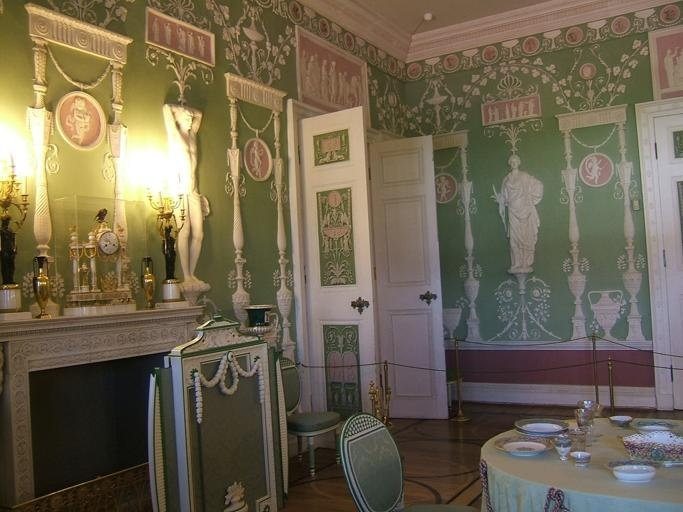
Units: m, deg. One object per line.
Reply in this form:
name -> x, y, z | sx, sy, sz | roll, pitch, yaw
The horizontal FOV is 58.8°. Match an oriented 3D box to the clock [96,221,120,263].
clock -> -1.716, -0.080, 4.448 | 0.039, 0.219, 0.182 | -4, -3, 36

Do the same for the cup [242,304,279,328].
cup -> -0.656, 0.461, 4.873 | 0.291, 0.218, 0.287 | 0, 3, 0

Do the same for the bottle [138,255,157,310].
bottle -> -1.535, 0.205, 4.810 | 0.099, 0.406, 0.191 | -1, -3, -16
